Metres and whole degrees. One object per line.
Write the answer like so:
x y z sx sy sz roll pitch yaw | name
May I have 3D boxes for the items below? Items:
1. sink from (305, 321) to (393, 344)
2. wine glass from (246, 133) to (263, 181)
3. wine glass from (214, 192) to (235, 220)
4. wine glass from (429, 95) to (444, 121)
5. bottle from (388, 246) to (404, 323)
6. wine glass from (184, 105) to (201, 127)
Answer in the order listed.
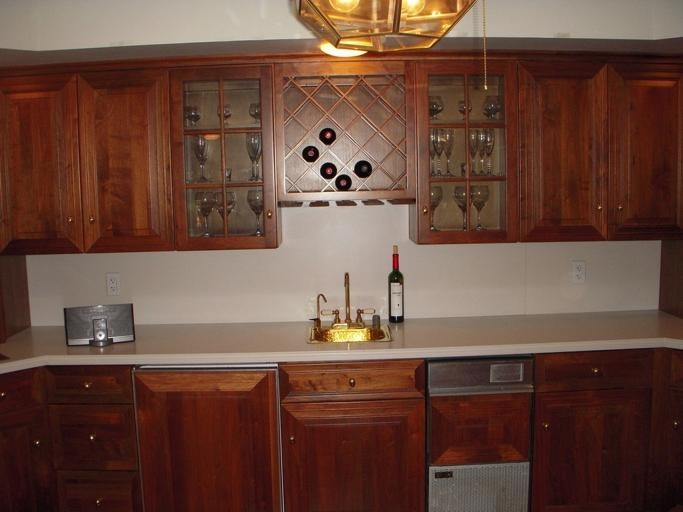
0.046 0.412 3.709 0.461 0.112 0.297 0 3 3 | sink
-0.500 -0.564 3.661 0.109 0.267 0.047 2 3 39 | wine glass
-0.660 -0.291 3.780 0.133 0.211 0.138 -1 7 2 | wine glass
0.527 -0.845 3.665 0.114 0.133 0.103 0 10 12 | wine glass
0.322 0.167 3.861 0.086 0.457 0.098 0 2 1 | bottle
-0.857 -0.791 3.657 0.102 0.164 0.103 -1 1 -7 | wine glass
